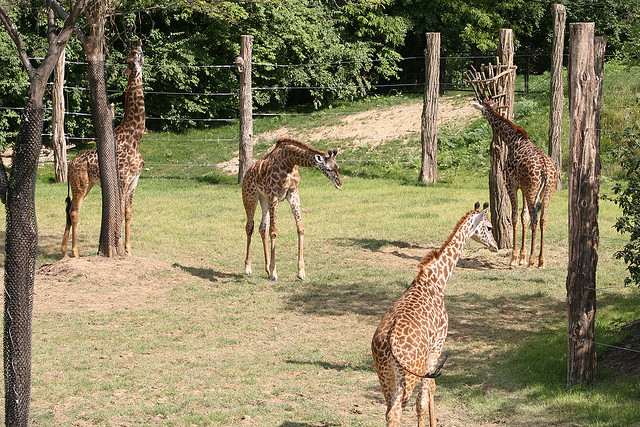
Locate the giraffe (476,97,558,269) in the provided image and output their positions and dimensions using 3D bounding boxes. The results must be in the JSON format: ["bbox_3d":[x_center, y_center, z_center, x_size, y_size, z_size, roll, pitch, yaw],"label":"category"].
[{"bbox_3d":[4.851,-0.707,28.126,1.280,3.885,1.887,-1,5,-5],"label":"giraffe"}]

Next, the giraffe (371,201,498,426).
[{"bbox_3d":[2.072,1.895,22.696,0.891,4.012,2.418,3,7,40],"label":"giraffe"}]

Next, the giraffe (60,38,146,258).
[{"bbox_3d":[-5.069,-1.552,27.898,1.850,5.160,1.388,-2,5,-8],"label":"giraffe"}]
